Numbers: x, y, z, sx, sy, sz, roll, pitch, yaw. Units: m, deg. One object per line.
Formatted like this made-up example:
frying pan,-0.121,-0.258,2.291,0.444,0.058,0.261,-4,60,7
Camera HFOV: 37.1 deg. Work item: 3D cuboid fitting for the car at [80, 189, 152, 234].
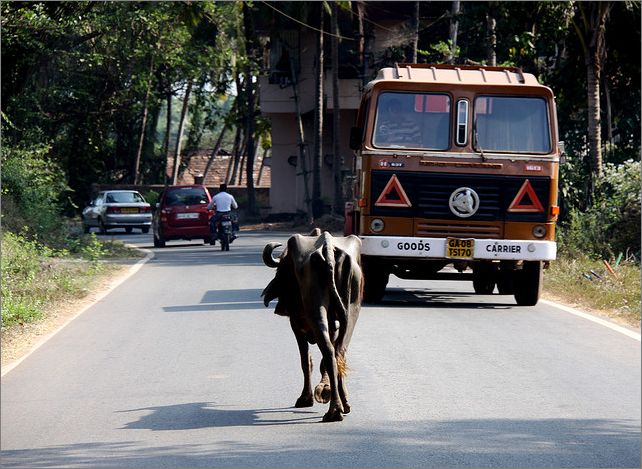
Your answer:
car,-8.141,-0.936,38.146,3.288,1.901,2.611,7,11,40

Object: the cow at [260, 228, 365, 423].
cow,-0.040,0.988,10.648,0.954,2.057,0.646,6,10,38

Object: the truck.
truck,2.624,-0.889,19.203,3.772,4.409,6.801,2,1,1

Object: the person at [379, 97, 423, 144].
person,1.286,-1.924,15.955,0.711,0.777,0.185,0,2,4
